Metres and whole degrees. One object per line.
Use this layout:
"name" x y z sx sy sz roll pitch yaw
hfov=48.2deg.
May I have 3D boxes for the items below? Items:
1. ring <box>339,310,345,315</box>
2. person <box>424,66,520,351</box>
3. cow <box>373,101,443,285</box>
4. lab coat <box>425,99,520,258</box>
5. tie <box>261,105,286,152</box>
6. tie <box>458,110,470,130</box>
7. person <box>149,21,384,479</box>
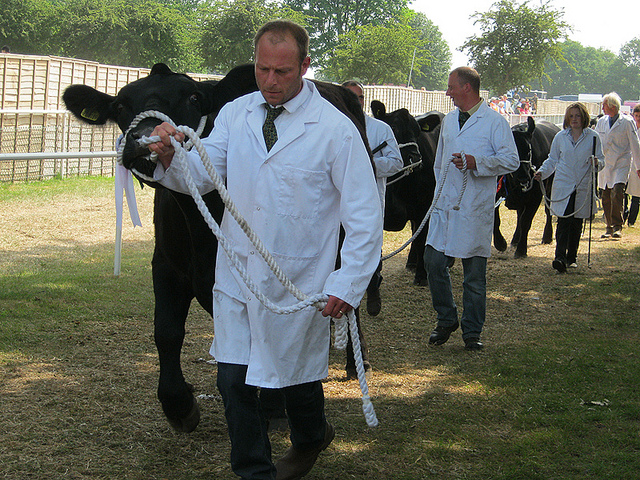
"ring" 0.128 0.439 4.336 0.023 0.006 0.022 32 -13 8
"person" 1.494 -0.311 7.204 0.788 2.787 0.869 7 15 15
"cow" 1.138 -0.748 9.909 0.873 1.799 3.548 -3 1 9
"lab coat" 1.559 -0.588 7.297 0.946 1.738 0.758 4 4 39
"tie" -0.306 -0.716 4.589 0.195 0.254 0.089 4 -6 33
"tie" 1.444 -1.214 7.226 0.129 0.166 0.066 -5 -21 42
"person" -0.282 0.193 4.602 1.313 3.105 0.986 4 14 3
